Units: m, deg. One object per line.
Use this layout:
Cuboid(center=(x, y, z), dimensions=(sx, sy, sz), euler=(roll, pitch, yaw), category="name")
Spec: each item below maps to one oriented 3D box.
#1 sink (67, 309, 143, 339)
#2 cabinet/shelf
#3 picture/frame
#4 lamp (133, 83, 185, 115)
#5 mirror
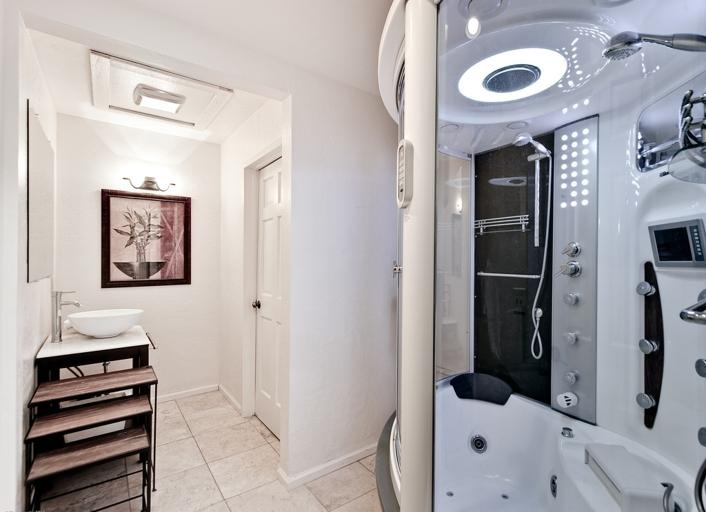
Cuboid(center=(-1.651, 0.433, 3.313), dimensions=(0.419, 0.187, 0.467), euler=(-4, 9, -32), category="sink")
Cuboid(center=(-1.429, 1.058, 2.790), dimensions=(0.642, 0.715, 0.633), euler=(-3, 9, -27), category="cabinet/shelf")
Cuboid(center=(-1.715, -0.134, 4.051), dimensions=(0.772, 0.954, 0.060), euler=(1, -3, -41), category="picture/frame")
Cuboid(center=(-1.308, -1.045, 3.368), dimensions=(0.320, 0.116, 0.433), euler=(-3, 9, -25), category="lamp")
Cuboid(center=(-1.838, -0.333, 2.947), dimensions=(0.070, 1.009, 0.992), euler=(-3, 8, -25), category="mirror")
